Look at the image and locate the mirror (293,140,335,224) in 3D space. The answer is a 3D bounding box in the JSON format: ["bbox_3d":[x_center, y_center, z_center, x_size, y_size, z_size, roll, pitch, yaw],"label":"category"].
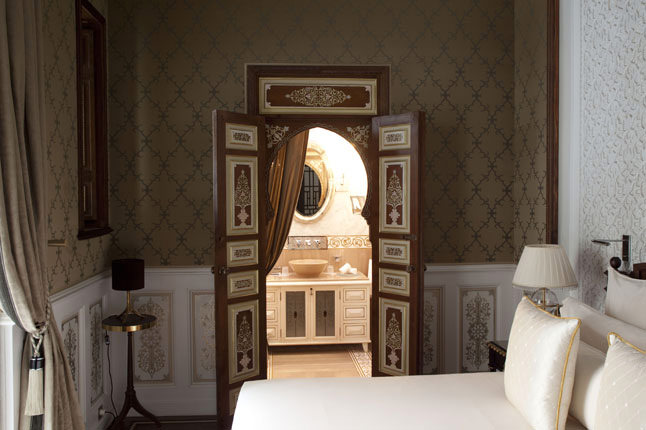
[{"bbox_3d":[-0.118,-0.421,6.717,0.521,1.029,0.184,-1,12,-1],"label":"mirror"}]

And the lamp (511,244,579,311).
[{"bbox_3d":[1.714,0.462,4.172,0.463,0.601,0.488,-2,2,5],"label":"lamp"}]

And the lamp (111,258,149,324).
[{"bbox_3d":[-1.800,0.664,4.743,0.284,0.515,0.422,-12,16,-43],"label":"lamp"}]
